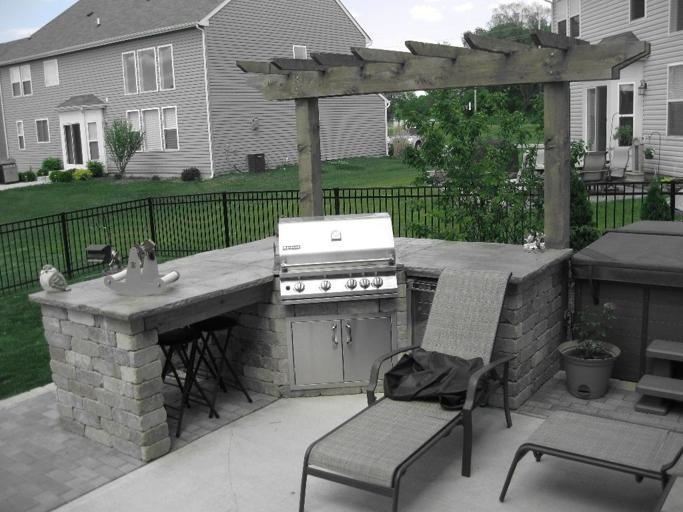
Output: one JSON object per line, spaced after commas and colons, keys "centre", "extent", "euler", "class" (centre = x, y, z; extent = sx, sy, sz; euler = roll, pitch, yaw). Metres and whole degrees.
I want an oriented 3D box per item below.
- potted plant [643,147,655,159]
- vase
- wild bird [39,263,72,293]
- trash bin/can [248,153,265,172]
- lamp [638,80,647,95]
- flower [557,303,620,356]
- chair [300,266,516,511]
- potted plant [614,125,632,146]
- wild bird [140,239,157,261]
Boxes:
{"centre": [8.965, -3.009, 15.292], "extent": [0.371, 0.229, 0.354], "euler": [1, 6, 17], "class": "potted plant"}
{"centre": [2.655, 1.183, 5.711], "extent": [0.654, 0.425, 0.615], "euler": [0, 6, 7], "class": "vase"}
{"centre": [-2.904, 0.214, 5.239], "extent": [0.236, 0.277, 0.328], "euler": [3, 3, 8], "class": "wild bird"}
{"centre": [-3.648, -4.007, 22.602], "extent": [0.710, 0.818, 0.494], "euler": [-7, 11, -15], "class": "trash bin/can"}
{"centre": [9.030, -5.054, 15.692], "extent": [0.129, 0.460, 0.296], "euler": [-5, 11, -7], "class": "lamp"}
{"centre": [2.616, 0.773, 5.611], "extent": [0.695, 0.702, 0.555], "euler": [-1, -2, 1], "class": "flower"}
{"centre": [0.522, 0.937, 4.906], "extent": [1.178, 1.549, 2.746], "euler": [7, 13, 36], "class": "chair"}
{"centre": [8.815, -3.788, 16.466], "extent": [0.643, 0.578, 0.650], "euler": [-4, 2, 44], "class": "potted plant"}
{"centre": [-1.854, -0.070, 5.058], "extent": [0.168, 0.203, 0.111], "euler": [0, 18, 8], "class": "wild bird"}
